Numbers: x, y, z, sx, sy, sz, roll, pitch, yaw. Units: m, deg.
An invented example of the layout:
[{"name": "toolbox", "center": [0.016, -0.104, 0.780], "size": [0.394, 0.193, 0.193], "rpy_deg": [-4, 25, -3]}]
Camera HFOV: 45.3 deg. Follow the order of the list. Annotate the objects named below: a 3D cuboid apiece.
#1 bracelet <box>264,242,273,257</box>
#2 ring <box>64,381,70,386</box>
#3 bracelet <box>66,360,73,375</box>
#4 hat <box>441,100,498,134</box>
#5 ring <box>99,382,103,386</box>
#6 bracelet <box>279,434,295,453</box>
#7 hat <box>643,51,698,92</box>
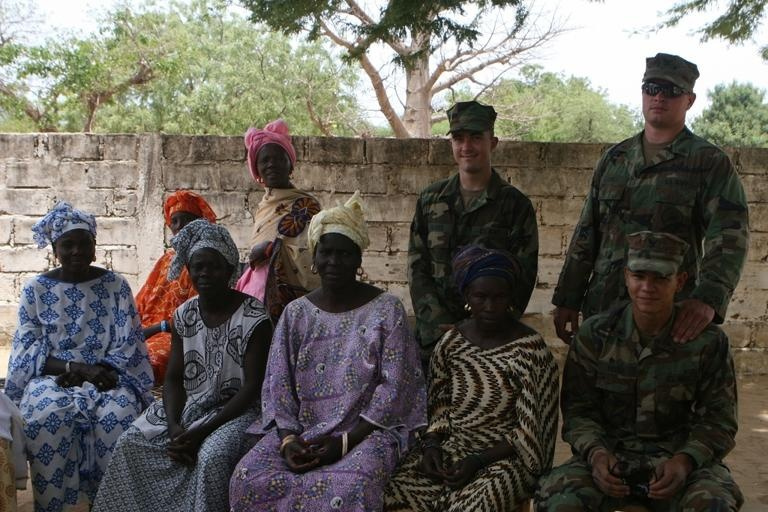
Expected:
[{"name": "bracelet", "center": [-1.044, -0.065, 8.192], "size": [0.095, 0.113, 0.046], "rpy_deg": [4, -9, -2]}, {"name": "ring", "center": [-2.624, 1.053, 7.598], "size": [0.049, 0.037, 0.016], "rpy_deg": [3, 3, 7]}, {"name": "bracelet", "center": [-2.635, 0.922, 7.647], "size": [0.023, 0.074, 0.081], "rpy_deg": [0, -31, -14]}, {"name": "hat", "center": [0.753, -1.203, 7.976], "size": [0.426, 0.285, 0.245], "rpy_deg": [2, 2, 1]}, {"name": "ring", "center": [-2.367, 1.059, 7.634], "size": [0.029, 0.025, 0.008], "rpy_deg": [-1, -5, -19]}, {"name": "bracelet", "center": [-0.743, 1.438, 7.062], "size": [0.048, 0.114, 0.106], "rpy_deg": [15, 7, 5]}, {"name": "hat", "center": [2.341, -1.500, 7.515], "size": [0.421, 0.299, 0.203], "rpy_deg": [3, 3, 13]}]
